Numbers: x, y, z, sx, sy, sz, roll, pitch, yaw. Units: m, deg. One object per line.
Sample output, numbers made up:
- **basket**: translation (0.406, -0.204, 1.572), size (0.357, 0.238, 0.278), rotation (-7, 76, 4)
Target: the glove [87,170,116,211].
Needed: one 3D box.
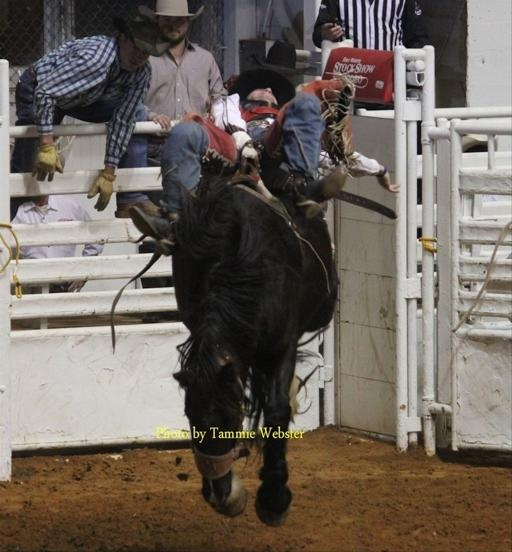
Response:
- **glove**: translation (-0.813, -0.451, 6.724), size (0.134, 0.236, 0.192), rotation (-1, 14, -5)

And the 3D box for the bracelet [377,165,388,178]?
- **bracelet**: translation (0.685, -0.581, 6.946), size (0.050, 0.069, 0.059), rotation (-7, -27, -1)

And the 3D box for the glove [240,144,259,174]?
- **glove**: translation (-0.035, -0.550, 5.982), size (0.082, 0.138, 0.095), rotation (0, 9, -4)

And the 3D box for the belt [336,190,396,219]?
- **belt**: translation (0.642, -0.412, 7.267), size (0.379, 0.070, 0.042), rotation (23, -8, -25)

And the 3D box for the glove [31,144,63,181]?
- **glove**: translation (-1.091, -0.596, 6.663), size (0.143, 0.207, 0.182), rotation (-2, 14, -11)

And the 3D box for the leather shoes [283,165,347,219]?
- **leather shoes**: translation (0.276, -0.397, 5.986), size (0.215, 0.299, 0.103), rotation (33, -22, -27)

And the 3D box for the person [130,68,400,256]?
- **person**: translation (-0.019, -0.540, 5.973), size (0.788, 0.392, 1.055), rotation (6, 24, 20)

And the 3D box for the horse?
- **horse**: translation (-0.081, 0.303, 6.133), size (0.839, 1.479, 2.636), rotation (-1, 11, 8)
